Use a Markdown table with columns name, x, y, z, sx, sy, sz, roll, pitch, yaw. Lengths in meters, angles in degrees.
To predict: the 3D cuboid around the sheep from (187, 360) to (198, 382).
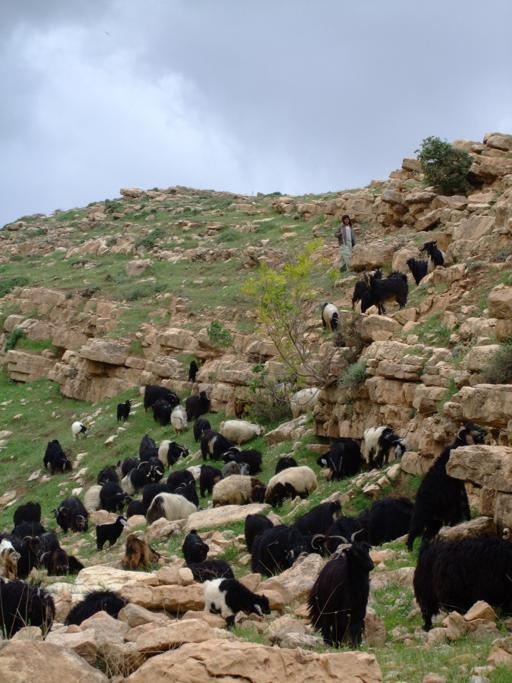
| name | x | y | z | sx | sy | sz | roll | pitch | yaw |
| --- | --- | --- | --- | --- | --- | --- | --- | --- | --- |
| sheep | -2.706 | 1.278 | 25.251 | 0.321 | 1.084 | 0.423 | 4 | -21 | 2 |
